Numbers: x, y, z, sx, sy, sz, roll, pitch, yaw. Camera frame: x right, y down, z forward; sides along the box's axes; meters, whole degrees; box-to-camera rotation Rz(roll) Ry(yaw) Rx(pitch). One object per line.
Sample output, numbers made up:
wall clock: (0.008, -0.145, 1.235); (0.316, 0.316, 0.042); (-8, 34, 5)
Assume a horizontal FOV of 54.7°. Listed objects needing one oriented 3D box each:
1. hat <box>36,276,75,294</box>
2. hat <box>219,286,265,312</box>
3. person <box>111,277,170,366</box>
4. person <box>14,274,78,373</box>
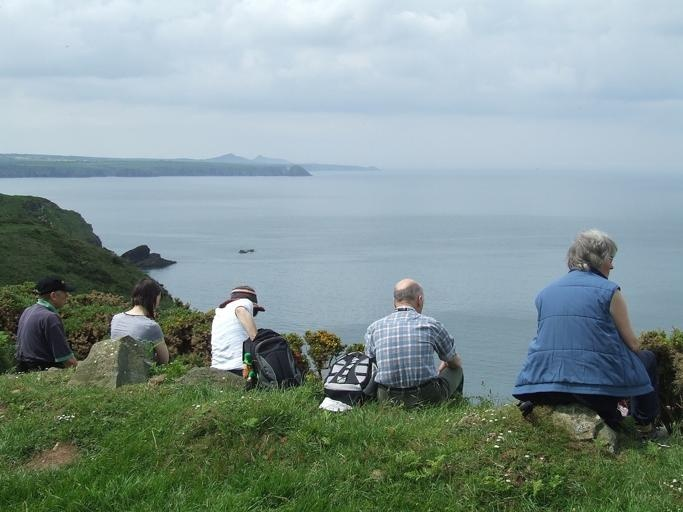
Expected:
hat: (-4.762, 0.536, 11.003); (0.515, 0.292, 0.333); (-9, 9, -21)
hat: (-1.562, 0.690, 11.208); (0.518, 0.356, 0.748); (-1, -5, 42)
person: (-3.215, 1.087, 10.494); (0.791, 1.367, 0.559); (-4, 9, -22)
person: (-4.885, 1.176, 11.133); (1.131, 1.654, 1.063); (9, 7, 25)
